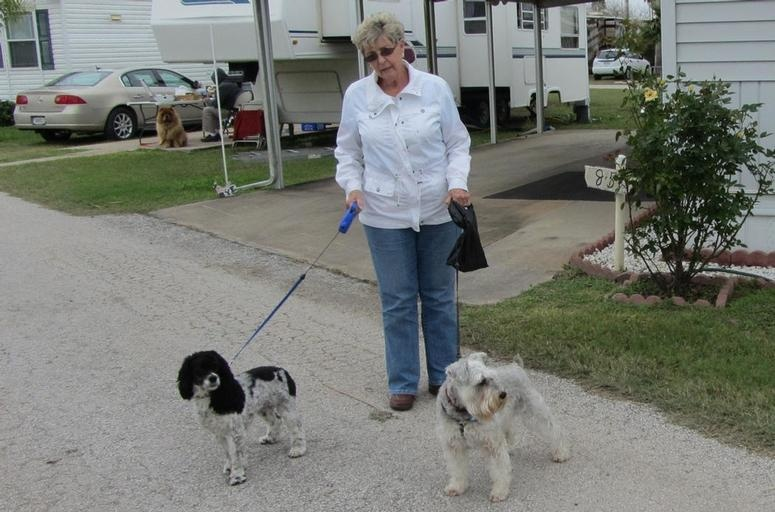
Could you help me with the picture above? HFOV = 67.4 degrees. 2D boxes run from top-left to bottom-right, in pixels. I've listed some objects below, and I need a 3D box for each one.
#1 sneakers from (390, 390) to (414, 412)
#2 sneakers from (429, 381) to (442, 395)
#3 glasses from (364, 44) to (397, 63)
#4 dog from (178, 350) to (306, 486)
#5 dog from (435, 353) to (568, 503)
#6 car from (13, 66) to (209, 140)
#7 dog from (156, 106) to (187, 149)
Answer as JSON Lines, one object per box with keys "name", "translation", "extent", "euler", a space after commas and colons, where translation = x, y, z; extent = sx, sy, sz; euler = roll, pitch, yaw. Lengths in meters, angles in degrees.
{"name": "sneakers", "translation": [0.111, 1.112, 4.462], "extent": [0.110, 0.125, 0.292], "euler": [1, -9, 0]}
{"name": "sneakers", "translation": [0.342, 1.050, 4.636], "extent": [0.167, 0.073, 0.058], "euler": [3, 17, 22]}
{"name": "glasses", "translation": [-0.074, -1.453, 4.198], "extent": [0.274, 0.109, 0.123], "euler": [6, 16, 31]}
{"name": "dog", "translation": [-0.970, 1.018, 3.929], "extent": [0.387, 0.877, 0.884], "euler": [1, 5, 39]}
{"name": "dog", "translation": [0.678, 0.999, 3.692], "extent": [0.742, 0.891, 0.447], "euler": [-13, 18, -39]}
{"name": "car", "translation": [-8.300, -4.594, 18.089], "extent": [2.455, 1.638, 5.462], "euler": [10, 19, 37]}
{"name": "dog", "translation": [-6.043, -3.641, 16.429], "extent": [0.727, 1.132, 0.613], "euler": [-7, 15, -19]}
